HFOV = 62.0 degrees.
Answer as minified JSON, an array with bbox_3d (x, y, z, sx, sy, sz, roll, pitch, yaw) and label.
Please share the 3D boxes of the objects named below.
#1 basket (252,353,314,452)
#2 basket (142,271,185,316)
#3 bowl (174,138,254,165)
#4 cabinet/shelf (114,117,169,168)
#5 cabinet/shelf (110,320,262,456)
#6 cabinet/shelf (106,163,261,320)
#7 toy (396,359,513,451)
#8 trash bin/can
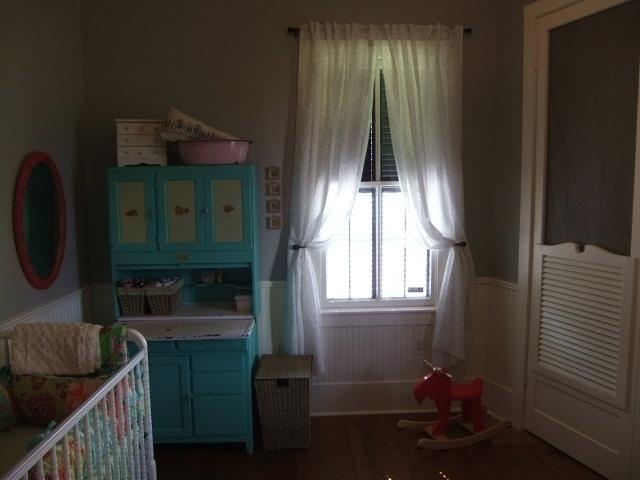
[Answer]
[{"bbox_3d":[-0.205,1.184,3.908,0.481,0.691,0.519,0,-10,2],"label":"basket"},{"bbox_3d":[-1.150,0.404,3.904,0.166,0.203,0.276,0,5,0],"label":"basket"},{"bbox_3d":[-0.751,-0.620,3.743,0.483,0.172,0.141,-2,7,-16],"label":"bowl"},{"bbox_3d":[-1.220,-0.662,3.817,0.452,0.472,0.283,-1,1,-7],"label":"cabinet/shelf"},{"bbox_3d":[-0.882,0.951,3.905,1.121,1.164,0.734,0,-2,-4],"label":"cabinet/shelf"},{"bbox_3d":[-0.972,-0.019,3.757,1.037,1.234,0.448,-1,2,-4],"label":"cabinet/shelf"},{"bbox_3d":[0.911,1.210,4.020,0.842,0.661,0.464,1,-4,-13],"label":"toy"},{"bbox_3d":[-0.204,1.190,3.974,0.478,0.700,0.519,1,-7,1],"label":"trash bin/can"}]
